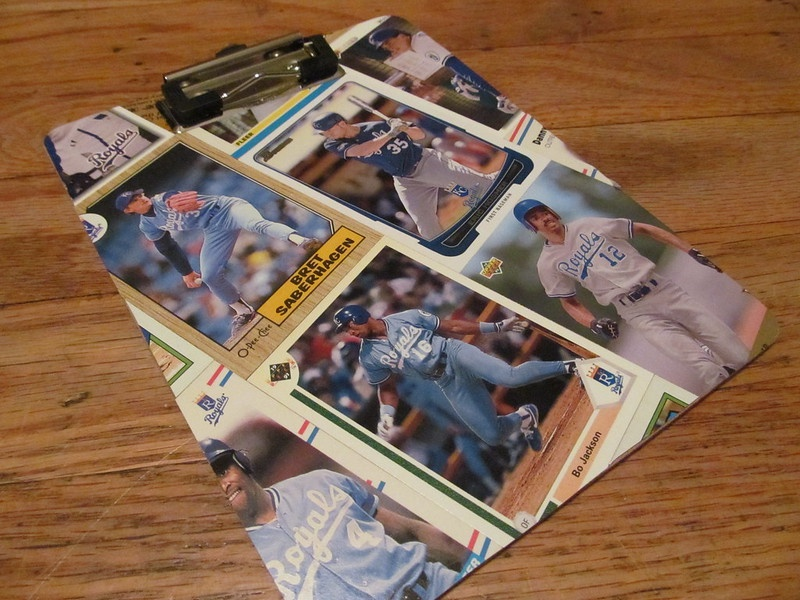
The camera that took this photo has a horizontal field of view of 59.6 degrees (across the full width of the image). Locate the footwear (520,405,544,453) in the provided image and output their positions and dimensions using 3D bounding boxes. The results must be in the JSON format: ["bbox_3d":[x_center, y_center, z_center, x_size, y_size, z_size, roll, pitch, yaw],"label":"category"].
[{"bbox_3d":[0.164,0.156,0.853,0.024,0.025,0.052,-28,85,21],"label":"footwear"}]
